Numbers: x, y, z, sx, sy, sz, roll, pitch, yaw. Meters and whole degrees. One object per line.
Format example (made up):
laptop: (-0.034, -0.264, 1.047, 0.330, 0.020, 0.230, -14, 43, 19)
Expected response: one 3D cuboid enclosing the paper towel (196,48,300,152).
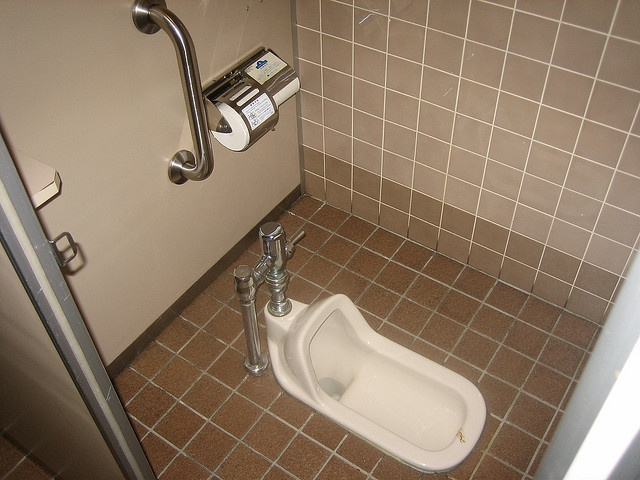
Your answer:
paper towel: (-0.281, -0.582, 1.931, 0.312, 0.167, 0.454, 19, 53, 17)
